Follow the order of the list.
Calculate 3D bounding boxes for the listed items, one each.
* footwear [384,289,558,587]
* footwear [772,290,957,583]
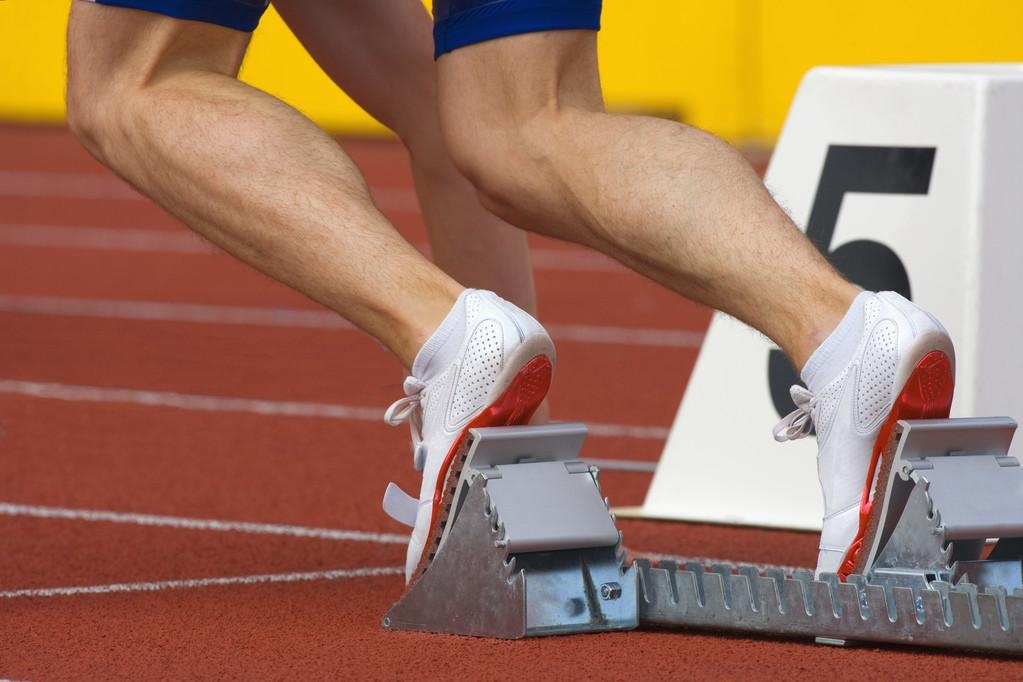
[{"bbox_3d":[-0.085,0.161,1.683,0.213,0.511,0.188,34,34,28],"label":"footwear"},{"bbox_3d":[0.504,0.092,1.584,0.222,0.487,0.158,16,31,22],"label":"footwear"}]
